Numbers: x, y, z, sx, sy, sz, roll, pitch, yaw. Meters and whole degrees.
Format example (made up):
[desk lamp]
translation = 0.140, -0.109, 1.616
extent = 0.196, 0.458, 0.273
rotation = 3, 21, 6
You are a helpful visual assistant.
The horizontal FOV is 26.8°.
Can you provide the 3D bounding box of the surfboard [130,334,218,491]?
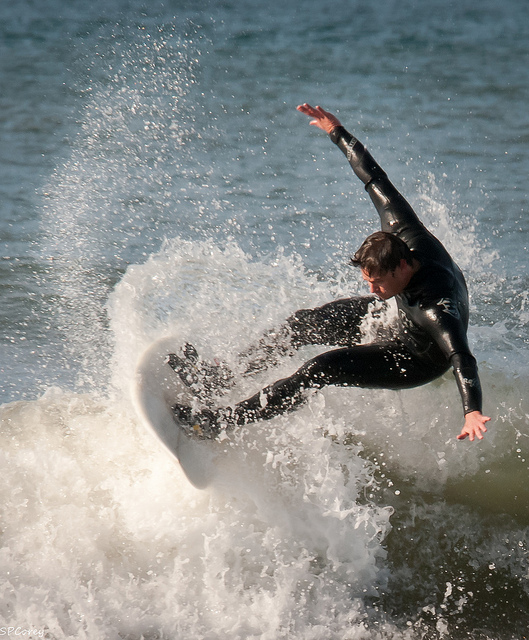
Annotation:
[surfboard]
translation = -0.717, 0.630, 7.959
extent = 0.184, 0.618, 1.054
rotation = -42, 46, 31
